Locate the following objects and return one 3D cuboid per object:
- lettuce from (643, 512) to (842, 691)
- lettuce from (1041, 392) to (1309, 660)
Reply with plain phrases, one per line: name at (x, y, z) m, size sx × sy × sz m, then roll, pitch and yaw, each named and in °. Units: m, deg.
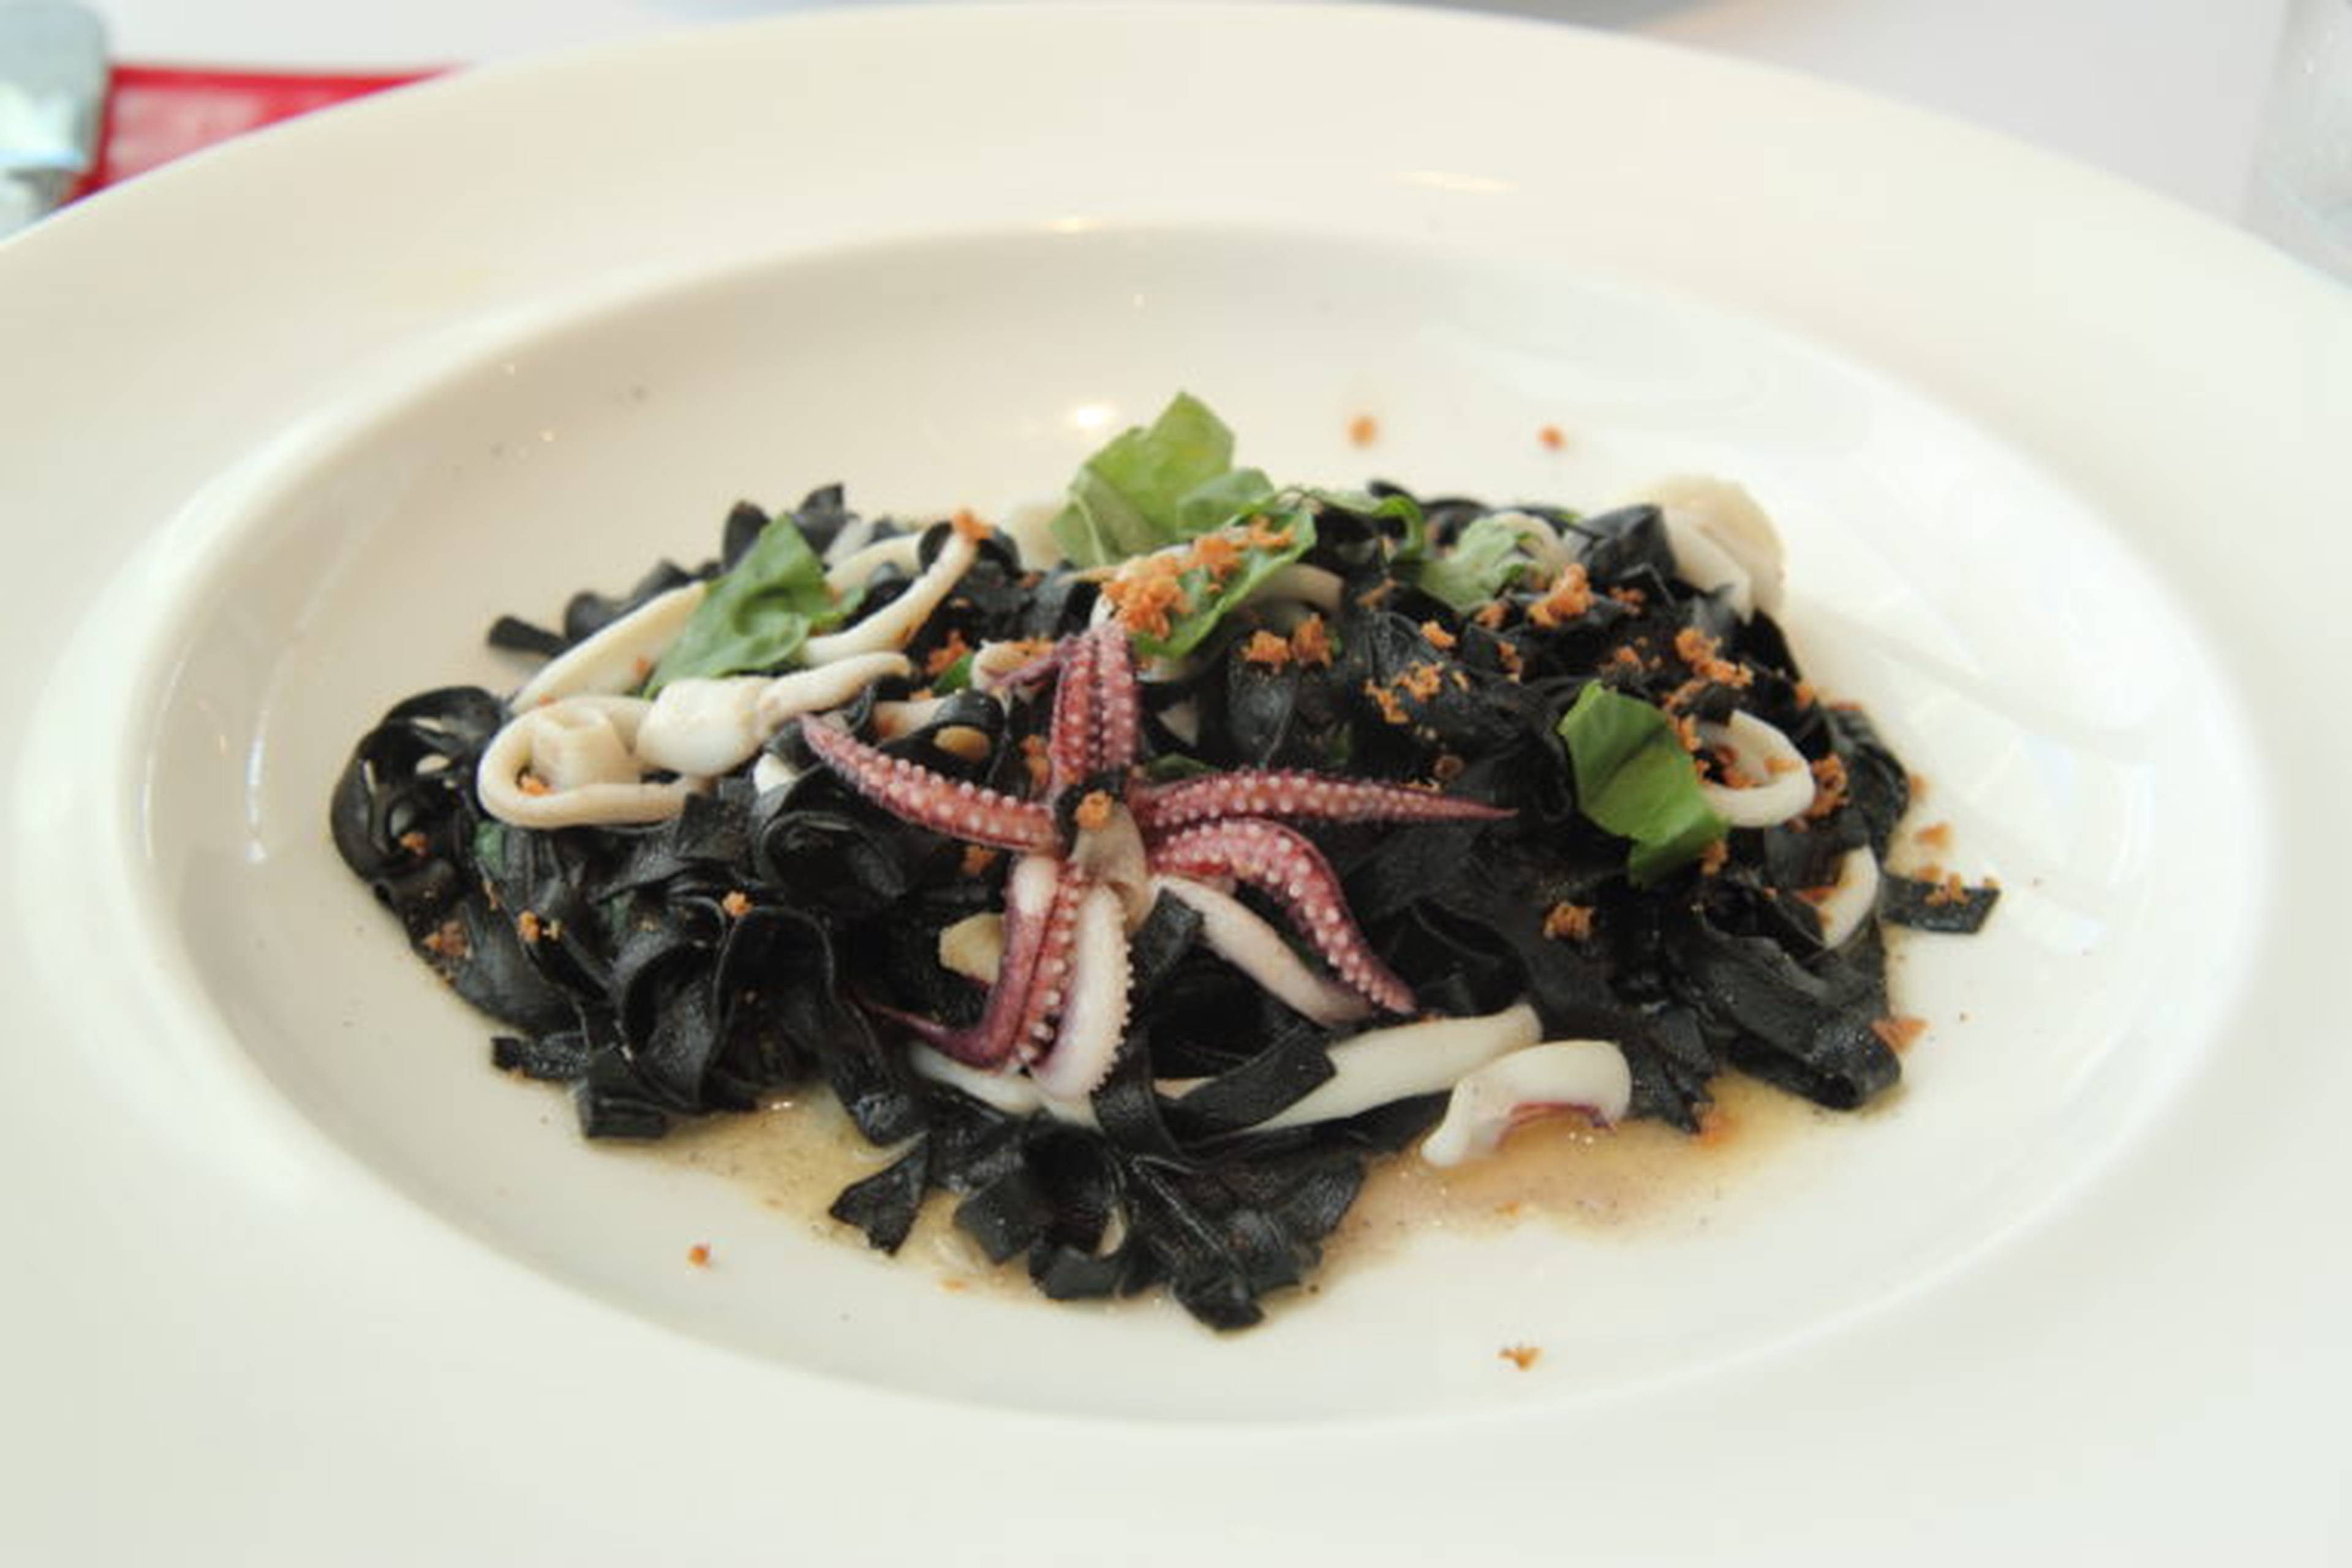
lettuce at (-0.575, -0.232, 3.105) m, size 0.185 × 0.080 × 0.286 m, roll 26°, pitch 73°, yaw 29°
lettuce at (0.012, -0.364, 3.068) m, size 0.396 × 0.096 × 0.391 m, roll -33°, pitch 43°, yaw -6°
